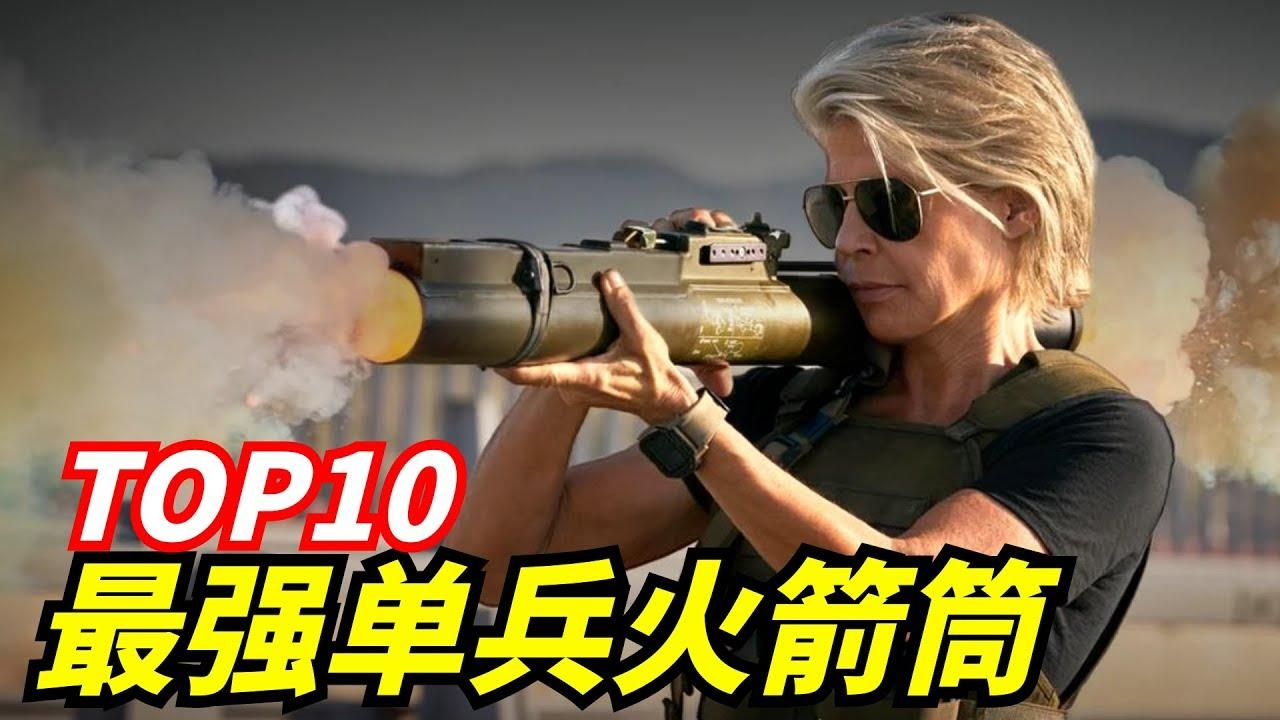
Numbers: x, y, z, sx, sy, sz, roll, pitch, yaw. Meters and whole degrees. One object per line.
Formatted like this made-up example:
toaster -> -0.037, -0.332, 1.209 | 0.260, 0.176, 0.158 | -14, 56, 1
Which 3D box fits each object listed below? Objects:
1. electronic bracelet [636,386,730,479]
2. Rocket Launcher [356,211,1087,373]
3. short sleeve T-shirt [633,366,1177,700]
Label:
electronic bracelet -> 0.200, 0.332, 6.817 | 0.404, 0.383, 0.152 | -2, 9, -5
Rocket Launcher -> -0.119, -0.284, 6.905 | 2.364, 0.729, 0.289 | -3, 9, -16
short sleeve T-shirt -> 1.325, 0.638, 7.630 | 2.460, 1.505, 2.335 | 5, 6, -22
